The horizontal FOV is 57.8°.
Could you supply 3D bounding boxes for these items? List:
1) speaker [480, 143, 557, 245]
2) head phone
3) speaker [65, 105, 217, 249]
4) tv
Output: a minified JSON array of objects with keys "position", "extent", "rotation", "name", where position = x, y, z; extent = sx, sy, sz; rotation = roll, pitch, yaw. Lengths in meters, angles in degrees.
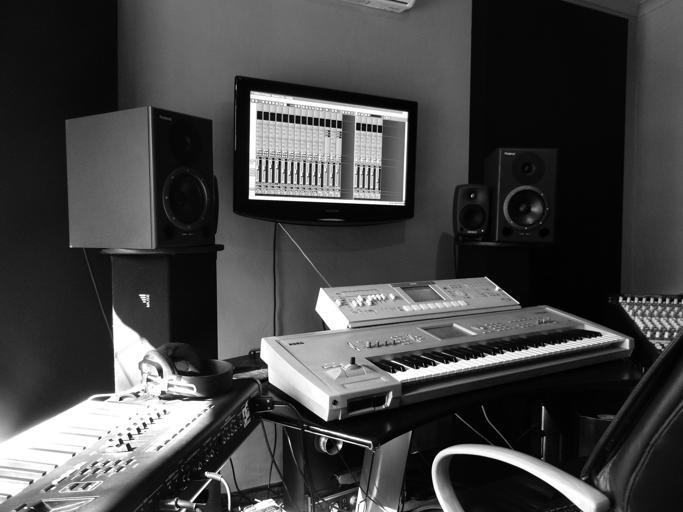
[{"position":[0.863,-0.327,2.883],"extent":[0.280,0.446,0.273],"rotation":[9,30,29],"name":"speaker"},{"position":[-0.473,0.355,1.907],"extent":[0.255,0.141,0.236],"rotation":[5,7,10],"name":"head phone"},{"position":[-0.745,-0.267,2.274],"extent":[0.493,0.481,0.385],"rotation":[1,4,35],"name":"speaker"},{"position":[-0.110,-0.481,2.860],"extent":[0.704,0.524,0.077],"rotation":[1,7,-25],"name":"tv"}]
